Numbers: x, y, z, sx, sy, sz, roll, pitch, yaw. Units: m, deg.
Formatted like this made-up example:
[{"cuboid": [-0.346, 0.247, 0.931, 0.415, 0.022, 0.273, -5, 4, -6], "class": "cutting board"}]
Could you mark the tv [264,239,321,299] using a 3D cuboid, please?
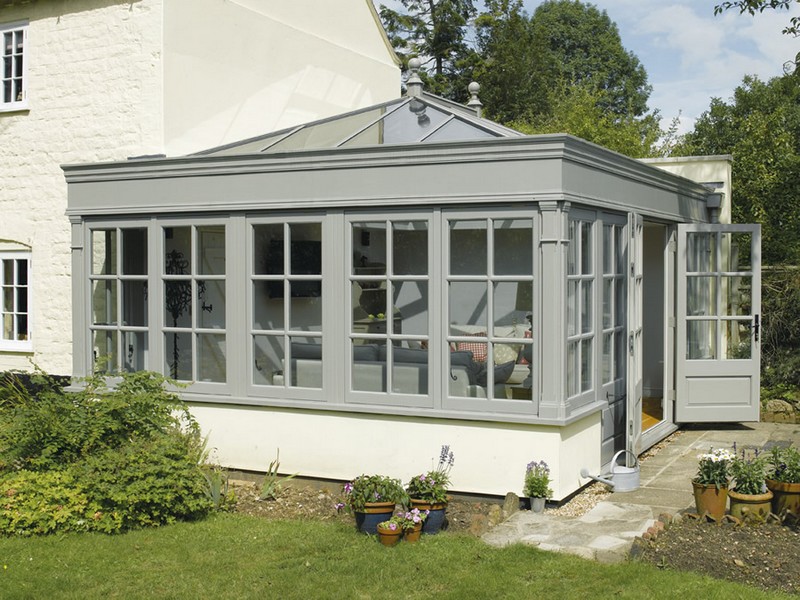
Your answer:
[{"cuboid": [-1.195, -0.350, 9.633, 0.697, 0.653, 0.080, -3, -4, 22], "class": "tv"}]

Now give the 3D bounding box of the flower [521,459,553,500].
[{"cuboid": [1.384, 1.753, 8.708, 0.287, 0.491, 0.394, 1, -2, 15], "class": "flower"}]

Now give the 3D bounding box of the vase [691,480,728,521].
[{"cuboid": [2.933, 1.892, 8.185, 0.298, 0.300, 0.328, 0, -4, 3], "class": "vase"}]

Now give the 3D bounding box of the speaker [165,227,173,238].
[{"cuboid": [-2.705, -0.787, 10.117, 0.088, 0.128, 0.034, -1, -3, -1], "class": "speaker"}]

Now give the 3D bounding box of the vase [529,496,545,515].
[{"cuboid": [1.359, 2.046, 8.603, 0.144, 0.119, 0.138, -1, -3, 20], "class": "vase"}]

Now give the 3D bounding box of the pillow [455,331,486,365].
[{"cuboid": [0.771, 0.492, 8.942, 0.322, 0.330, 0.085, 0, 0, 36], "class": "pillow"}]

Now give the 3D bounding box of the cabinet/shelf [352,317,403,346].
[{"cuboid": [-0.257, 0.413, 9.305, 0.387, 0.402, 0.253, 3, 8, 28], "class": "cabinet/shelf"}]

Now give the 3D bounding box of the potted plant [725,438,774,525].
[{"cuboid": [3.398, 1.720, 8.341, 0.597, 0.694, 0.659, -1, -2, 33], "class": "potted plant"}]
